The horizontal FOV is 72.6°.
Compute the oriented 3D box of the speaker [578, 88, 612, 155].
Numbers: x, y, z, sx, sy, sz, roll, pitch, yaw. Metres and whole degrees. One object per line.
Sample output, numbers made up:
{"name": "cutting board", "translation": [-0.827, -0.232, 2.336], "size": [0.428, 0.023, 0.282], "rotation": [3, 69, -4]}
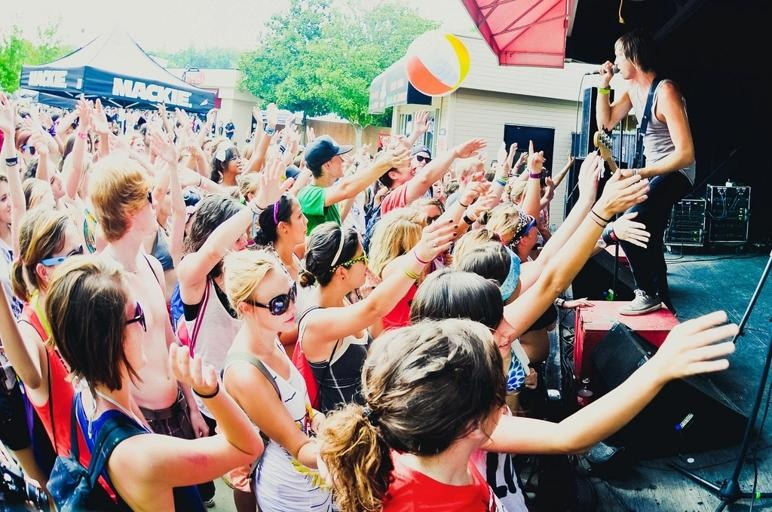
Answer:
{"name": "speaker", "translation": [3.232, -2.065, 8.321], "size": [0.288, 1.117, 0.325], "rotation": [0, 37, 15]}

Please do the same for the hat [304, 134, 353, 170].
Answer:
{"name": "hat", "translation": [-0.648, -1.177, 5.765], "size": [0.559, 0.299, 0.362], "rotation": [-24, 16, -14]}

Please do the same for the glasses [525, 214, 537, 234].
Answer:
{"name": "glasses", "translation": [1.395, -0.310, 5.075], "size": [0.110, 0.151, 0.054], "rotation": [10, 2, 36]}

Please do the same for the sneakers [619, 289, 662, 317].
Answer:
{"name": "sneakers", "translation": [2.401, 0.446, 5.039], "size": [0.476, 0.237, 0.184], "rotation": [-4, 9, 2]}
